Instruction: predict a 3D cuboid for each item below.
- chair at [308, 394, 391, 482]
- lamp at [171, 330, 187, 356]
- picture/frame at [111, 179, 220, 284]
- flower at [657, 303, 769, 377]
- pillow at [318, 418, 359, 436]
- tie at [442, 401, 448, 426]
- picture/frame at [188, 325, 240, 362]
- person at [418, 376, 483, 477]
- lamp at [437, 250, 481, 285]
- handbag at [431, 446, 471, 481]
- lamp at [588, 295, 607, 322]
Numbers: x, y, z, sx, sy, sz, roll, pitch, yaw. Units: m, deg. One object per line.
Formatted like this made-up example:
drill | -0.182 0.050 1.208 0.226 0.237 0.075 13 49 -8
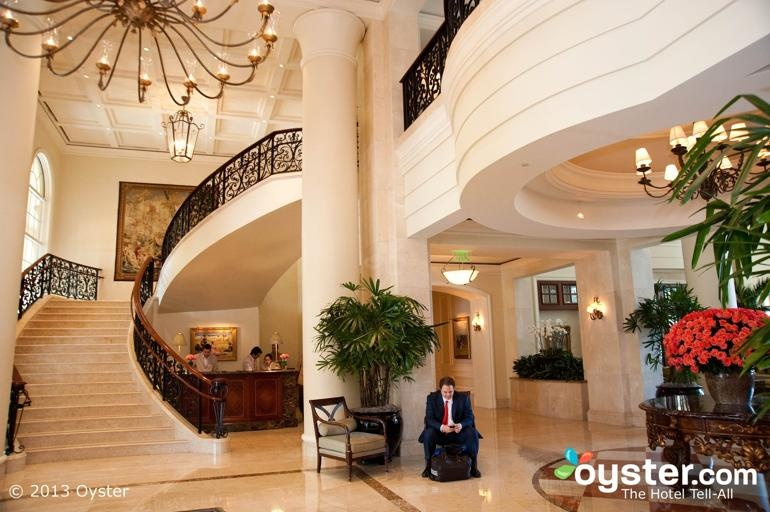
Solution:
chair | -0.586 2.756 7.414 0.927 1.040 1.115 5 -10 -36
lamp | -5.695 2.429 13.200 0.317 0.661 1.229 3 -9 -23
picture/frame | -6.234 -0.580 13.202 3.175 3.691 0.251 2 -2 -21
flower | 3.483 0.912 5.106 0.889 0.688 0.444 -5 -9 29
pillow | -0.746 2.604 7.286 0.352 0.143 0.372 -3 -5 -18
tie | 0.856 2.301 7.024 0.085 0.278 0.088 -1 -8 3
picture/frame | -4.918 2.449 13.445 1.113 0.916 0.096 0 -1 -18
person | 0.913 2.451 6.970 0.884 1.201 1.000 -3 -1 37
lamp | 1.686 0.264 10.884 0.839 0.719 0.813 -3 -4 32
handbag | 0.910 3.032 6.835 0.645 0.527 0.341 3 -20 -11
lamp | 4.962 1.247 11.217 0.331 0.680 0.522 7 -12 -16
